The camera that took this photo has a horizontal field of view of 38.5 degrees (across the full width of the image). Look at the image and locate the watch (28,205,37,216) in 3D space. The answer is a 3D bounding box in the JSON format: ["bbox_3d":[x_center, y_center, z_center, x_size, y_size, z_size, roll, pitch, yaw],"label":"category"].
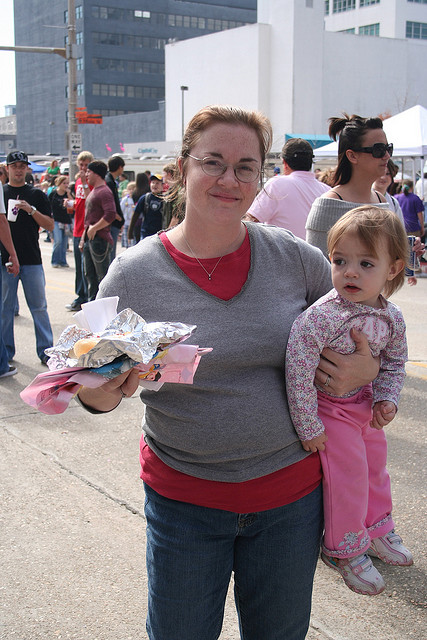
[{"bbox_3d":[-1.874,-1.119,6.309,0.073,0.096,0.104,21,35,-37],"label":"watch"}]

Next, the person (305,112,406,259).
[{"bbox_3d":[0.790,-0.750,3.491,0.709,0.808,0.418,-13,20,-19],"label":"person"}]

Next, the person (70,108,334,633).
[{"bbox_3d":[-0.006,0.097,1.522,0.540,1.221,0.630,1,12,10],"label":"person"}]

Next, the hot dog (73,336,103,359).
[{"bbox_3d":[-0.259,0.064,1.302,0.052,0.025,0.049,-19,18,35],"label":"hot dog"}]

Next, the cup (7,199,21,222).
[{"bbox_3d":[-2.020,-1.104,6.193,0.138,0.206,0.228,-4,11,-16],"label":"cup"}]

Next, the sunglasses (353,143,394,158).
[{"bbox_3d":[0.880,-0.913,3.297,0.142,0.055,0.141,5,9,43],"label":"sunglasses"}]
